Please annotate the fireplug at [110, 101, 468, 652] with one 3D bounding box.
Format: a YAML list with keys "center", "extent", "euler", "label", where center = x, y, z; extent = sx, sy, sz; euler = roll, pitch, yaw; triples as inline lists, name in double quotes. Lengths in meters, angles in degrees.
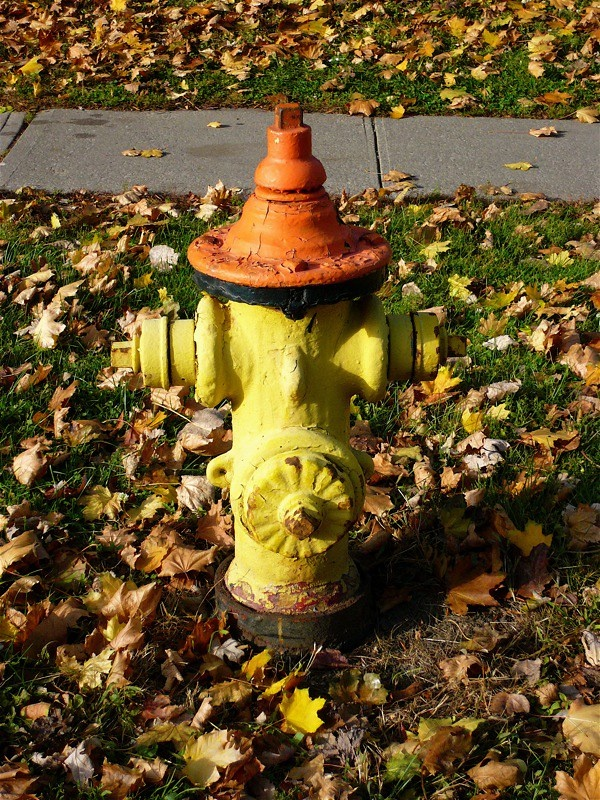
- center: [-0.033, -0.032, 1.944]
  extent: [0.557, 1.271, 0.570]
  euler: [-26, 30, -38]
  label: "fireplug"
